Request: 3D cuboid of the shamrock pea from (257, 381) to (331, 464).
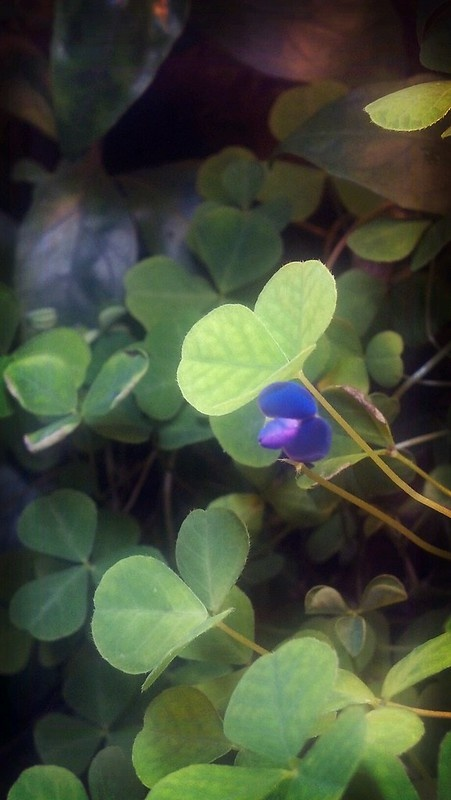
[{"bbox_3d":[0.050,0.012,0.477,0.034,0.052,0.048,5,29,27],"label":"shamrock pea"}]
